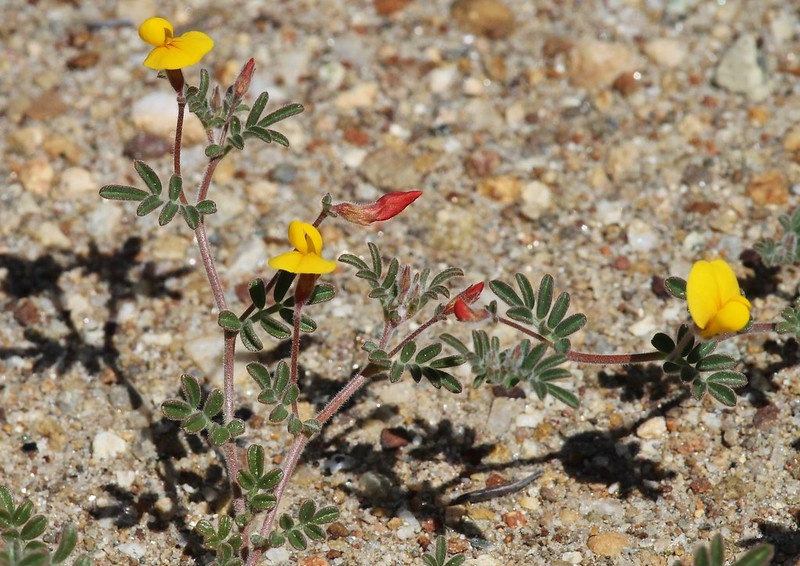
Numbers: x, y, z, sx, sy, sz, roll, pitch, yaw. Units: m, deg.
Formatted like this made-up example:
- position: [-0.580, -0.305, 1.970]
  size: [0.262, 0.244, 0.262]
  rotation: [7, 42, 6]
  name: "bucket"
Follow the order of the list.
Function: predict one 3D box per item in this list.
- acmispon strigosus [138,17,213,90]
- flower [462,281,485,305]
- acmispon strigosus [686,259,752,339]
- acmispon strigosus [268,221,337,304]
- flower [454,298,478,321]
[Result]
- position: [-0.957, -0.958, 3.700]
  size: [0.266, 0.294, 0.259]
  rotation: [16, 35, 37]
  name: "acmispon strigosus"
- position: [0.319, 0.044, 3.799]
  size: [0.101, 0.080, 0.039]
  rotation: [-42, 7, 9]
  name: "flower"
- position: [1.287, 0.080, 3.615]
  size: [0.249, 0.135, 0.311]
  rotation: [-14, 85, -12]
  name: "acmispon strigosus"
- position: [-0.389, -0.132, 3.533]
  size: [0.106, 0.255, 0.293]
  rotation: [-40, 62, 12]
  name: "acmispon strigosus"
- position: [0.277, 0.119, 3.743]
  size: [0.091, 0.093, 0.070]
  rotation: [-7, 42, 0]
  name: "flower"
